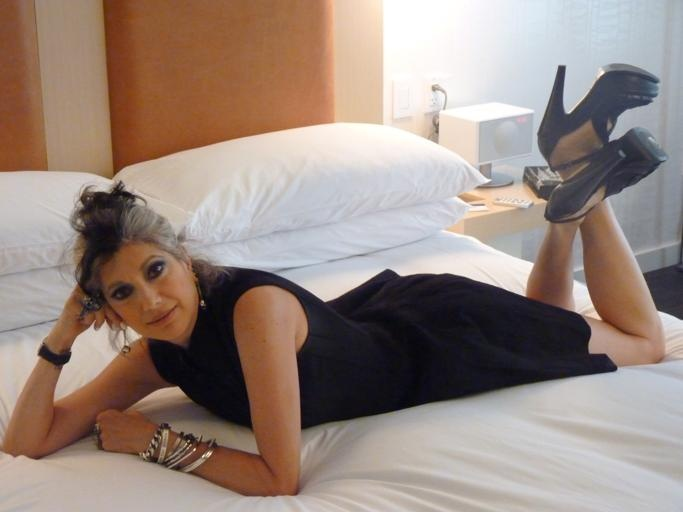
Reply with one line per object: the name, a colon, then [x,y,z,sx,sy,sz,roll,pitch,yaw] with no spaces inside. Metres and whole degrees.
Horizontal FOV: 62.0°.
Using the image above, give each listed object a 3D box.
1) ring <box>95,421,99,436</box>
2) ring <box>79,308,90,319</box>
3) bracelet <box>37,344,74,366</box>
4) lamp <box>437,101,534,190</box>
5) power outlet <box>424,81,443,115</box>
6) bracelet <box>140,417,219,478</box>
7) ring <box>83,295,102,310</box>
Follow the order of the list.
ring: [-0.513,0.362,1.185,0.007,0.024,0.016,2,-8,-27]
ring: [-0.532,0.118,1.175,0.013,0.024,0.006,11,42,-8]
bracelet: [-0.614,0.210,1.214,0.049,0.033,0.052,30,-13,-11]
lamp: [0.669,-0.493,2.569,0.338,0.315,0.265,-10,23,-15]
power outlet: [0.426,-0.716,2.555,0.119,0.185,0.019,0,-26,6]
bracelet: [-0.323,0.381,1.110,0.088,0.044,0.105,13,1,14]
ring: [-0.503,0.089,1.145,0.033,0.038,0.009,15,44,10]
